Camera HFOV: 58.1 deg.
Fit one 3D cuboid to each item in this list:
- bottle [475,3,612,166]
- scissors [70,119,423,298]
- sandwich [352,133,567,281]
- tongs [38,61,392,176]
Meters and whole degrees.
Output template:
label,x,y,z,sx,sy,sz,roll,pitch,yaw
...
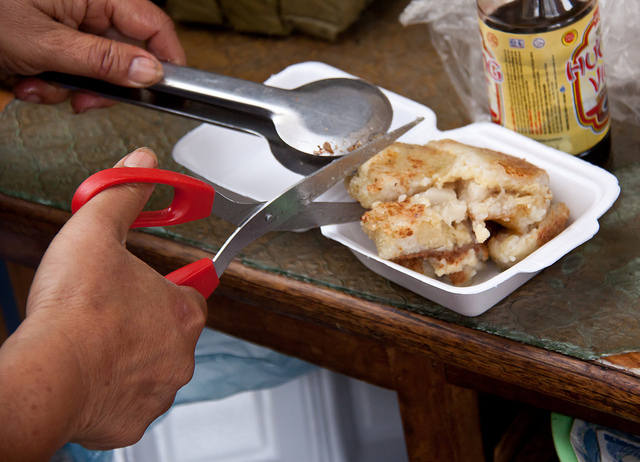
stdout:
label,x,y,z,sx,sy,sz,roll,pitch,yaw
bottle,0.248,-0.170,0.635,0.145,0.157,0.113,1,59,10
scissors,-0.047,-0.024,0.602,0.401,0.136,0.072,-19,28,-38
sandwich,0.140,-0.030,0.593,0.182,0.057,0.156,-25,62,-8
tongs,-0.140,-0.157,0.761,0.464,0.073,0.123,20,58,14
